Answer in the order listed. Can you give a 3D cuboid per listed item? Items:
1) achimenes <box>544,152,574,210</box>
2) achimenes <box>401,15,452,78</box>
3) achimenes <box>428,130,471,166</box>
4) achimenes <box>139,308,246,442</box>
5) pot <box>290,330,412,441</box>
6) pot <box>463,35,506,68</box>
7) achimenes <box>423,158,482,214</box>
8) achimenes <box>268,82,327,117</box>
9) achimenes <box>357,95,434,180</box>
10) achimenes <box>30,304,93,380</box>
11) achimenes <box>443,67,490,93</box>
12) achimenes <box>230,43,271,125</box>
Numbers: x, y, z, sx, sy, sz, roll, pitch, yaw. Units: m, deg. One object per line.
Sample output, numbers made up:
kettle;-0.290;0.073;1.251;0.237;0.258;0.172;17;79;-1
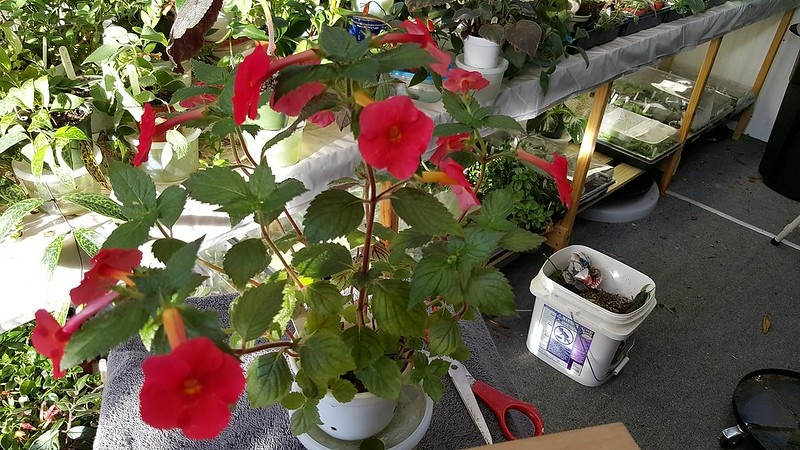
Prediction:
achimenes;0.405;-0.105;1.267;0.081;0.032;0.130;-11;70;12
achimenes;0.068;-0.406;1.202;0.097;0.150;0.171;-12;50;-6
achimenes;0.134;-0.187;1.299;0.090;0.037;0.087;-26;11;-4
achimenes;-0.401;0.323;0.975;0.197;0.162;0.131;-26;53;-18
pot;-0.128;0.469;1.390;0.271;0.169;0.259;-1;16;0
pot;0.337;-0.693;2.031;0.130;0.088;0.135;2;30;-1
achimenes;0.080;-0.105;1.233;0.214;0.114;0.145;7;10;-2
achimenes;-0.256;-0.282;1.144;0.095;0.104;0.041;-11;84;6
achimenes;-0.009;-0.181;1.077;0.160;0.151;0.126;-2;49;2
achimenes;-0.744;0.248;1.127;0.145;0.140;0.040;-31;9;10
achimenes;0.168;-0.374;1.304;0.092;0.038;0.091;2;26;16
achimenes;-0.319;-0.313;1.128;0.115;0.151;0.061;16;5;23
